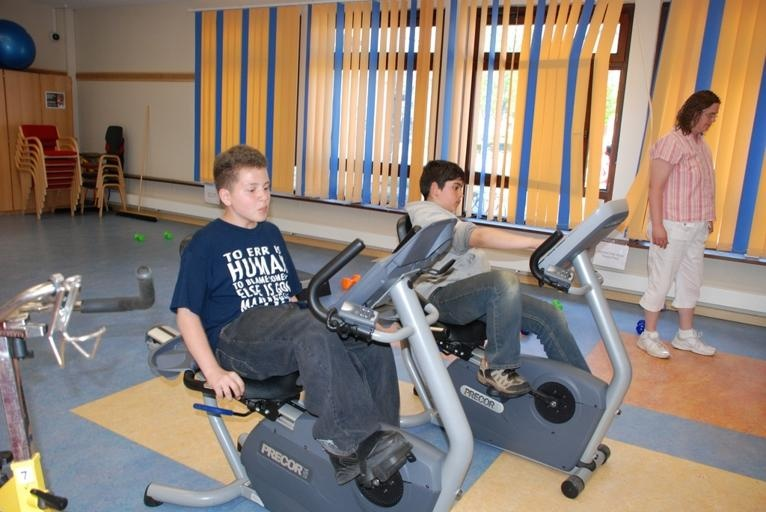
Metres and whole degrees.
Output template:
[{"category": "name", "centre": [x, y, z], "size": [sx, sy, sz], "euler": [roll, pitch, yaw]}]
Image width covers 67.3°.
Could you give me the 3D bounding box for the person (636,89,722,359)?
[{"category": "person", "centre": [2.453, -0.252, 4.685], "size": [0.609, 2.109, 0.541], "euler": [-1, 17, -11]}]

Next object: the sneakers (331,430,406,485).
[{"category": "sneakers", "centre": [-0.060, 0.906, 2.698], "size": [0.282, 0.134, 0.282], "euler": [-5, 15, -14]}]

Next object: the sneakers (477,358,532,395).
[{"category": "sneakers", "centre": [0.698, 0.681, 3.420], "size": [0.314, 0.228, 0.143], "euler": [8, 22, 23]}]

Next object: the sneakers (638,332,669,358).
[{"category": "sneakers", "centre": [2.225, 0.720, 4.793], "size": [0.134, 0.127, 0.276], "euler": [-11, 17, -31]}]

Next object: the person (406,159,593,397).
[{"category": "person", "centre": [0.785, 0.051, 3.560], "size": [1.048, 1.469, 1.061], "euler": [-6, -5, -26]}]

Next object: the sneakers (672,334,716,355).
[{"category": "sneakers", "centre": [2.637, 0.729, 4.900], "size": [0.322, 0.142, 0.157], "euler": [7, 9, 17]}]

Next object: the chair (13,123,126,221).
[{"category": "chair", "centre": [-4.999, -1.365, 9.096], "size": [1.416, 1.386, 0.932], "euler": [-8, 19, -33]}]

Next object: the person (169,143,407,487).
[{"category": "person", "centre": [-0.388, 0.262, 2.931], "size": [1.448, 1.660, 0.943], "euler": [1, 6, 39]}]
